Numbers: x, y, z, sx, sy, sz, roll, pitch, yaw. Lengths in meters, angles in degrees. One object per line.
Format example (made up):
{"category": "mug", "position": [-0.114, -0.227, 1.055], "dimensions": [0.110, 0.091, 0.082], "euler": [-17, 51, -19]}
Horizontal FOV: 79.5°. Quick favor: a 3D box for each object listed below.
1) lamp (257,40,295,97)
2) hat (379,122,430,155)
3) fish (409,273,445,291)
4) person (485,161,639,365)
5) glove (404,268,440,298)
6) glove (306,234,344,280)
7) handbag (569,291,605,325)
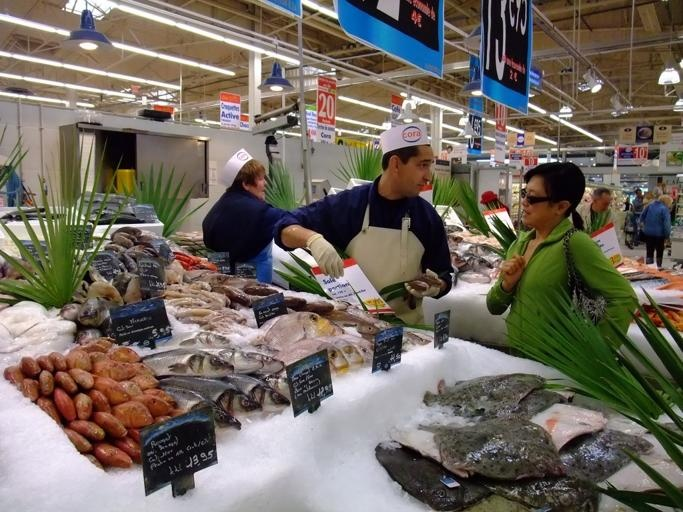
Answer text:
{"category": "lamp", "position": [-1.154, -3.271, 7.311], "dimensions": [0.637, 0.598, 0.631], "euler": [0, 8, -5]}
{"category": "hat", "position": [0.341, -0.669, 2.262], "dimensions": [0.289, 0.147, 0.296], "euler": [5, 18, 33]}
{"category": "fish", "position": [0.422, 0.132, 2.029], "dimensions": [0.092, 0.045, 0.157], "euler": [-7, -19, 43]}
{"category": "person", "position": [1.075, 0.046, 2.064], "dimensions": [0.488, 1.035, 0.692], "euler": [-7, 12, -37]}
{"category": "glove", "position": [0.390, 0.144, 2.007], "dimensions": [0.129, 0.074, 0.160], "euler": [-24, 26, -31]}
{"category": "glove", "position": [-0.075, 0.000, 1.921], "dimensions": [0.121, 0.160, 0.260], "euler": [-20, 17, -17]}
{"category": "handbag", "position": [1.052, 0.221, 1.749], "dimensions": [0.111, 0.045, 0.135], "euler": [-5, 40, -16]}
